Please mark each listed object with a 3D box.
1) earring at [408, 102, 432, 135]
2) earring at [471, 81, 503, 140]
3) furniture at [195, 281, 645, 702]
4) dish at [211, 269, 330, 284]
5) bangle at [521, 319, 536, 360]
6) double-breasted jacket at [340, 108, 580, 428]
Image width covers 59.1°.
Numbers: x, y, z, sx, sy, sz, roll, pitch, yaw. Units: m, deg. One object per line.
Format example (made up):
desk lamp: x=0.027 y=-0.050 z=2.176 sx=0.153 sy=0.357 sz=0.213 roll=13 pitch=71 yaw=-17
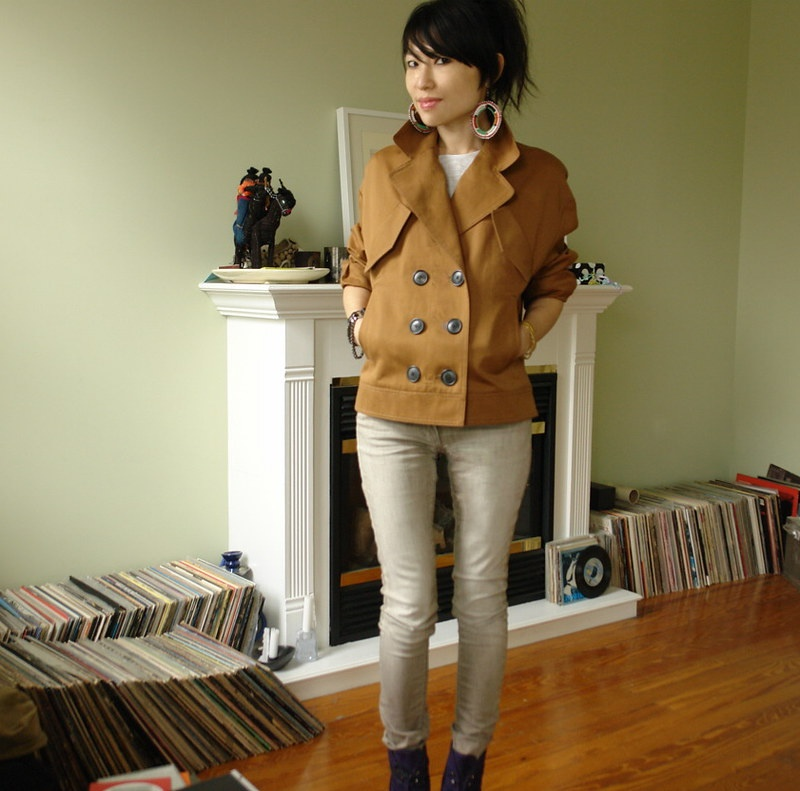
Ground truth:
earring: x=0.029 y=-0.465 z=1.209 sx=0.016 sy=0.057 sz=0.056 roll=-14 pitch=-33 yaw=-4
earring: x=0.136 y=-0.455 z=1.129 sx=0.058 sy=0.068 sz=0.022 roll=5 pitch=4 yaw=22
furniture: x=0.092 y=0.206 z=2.305 sx=1.280 sy=1.173 sz=0.694 roll=-4 pitch=8 yaw=-22
dish: x=-0.329 y=-0.325 z=1.917 sx=0.136 sy=0.027 sz=0.133 roll=-4 pitch=5 yaw=-41
bangle: x=0.223 y=-0.098 z=1.200 sx=0.020 sy=0.056 sz=0.041 roll=3 pitch=-6 yaw=-5
double-breasted jacket: x=0.137 y=-0.206 z=1.206 sx=0.406 sy=0.507 sz=0.229 roll=1 pitch=3 yaw=-25
